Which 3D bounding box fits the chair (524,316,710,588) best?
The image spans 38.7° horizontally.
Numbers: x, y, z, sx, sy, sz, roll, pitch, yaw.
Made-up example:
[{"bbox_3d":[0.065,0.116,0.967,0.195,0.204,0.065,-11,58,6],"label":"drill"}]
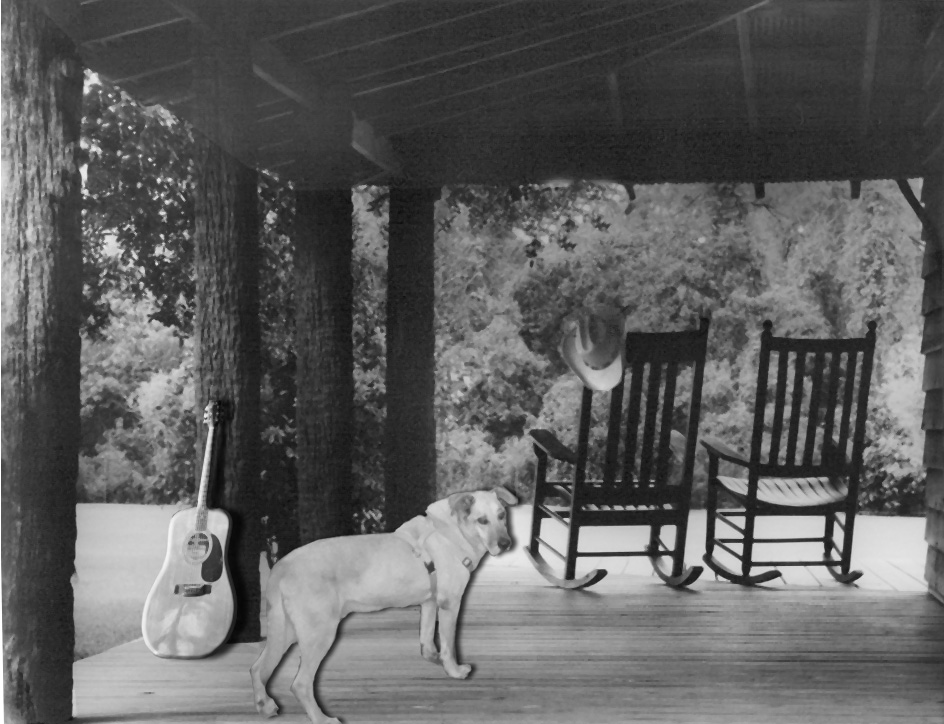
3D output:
[{"bbox_3d":[0.619,0.386,5.517,0.598,1.153,0.702,2,16,4],"label":"chair"}]
